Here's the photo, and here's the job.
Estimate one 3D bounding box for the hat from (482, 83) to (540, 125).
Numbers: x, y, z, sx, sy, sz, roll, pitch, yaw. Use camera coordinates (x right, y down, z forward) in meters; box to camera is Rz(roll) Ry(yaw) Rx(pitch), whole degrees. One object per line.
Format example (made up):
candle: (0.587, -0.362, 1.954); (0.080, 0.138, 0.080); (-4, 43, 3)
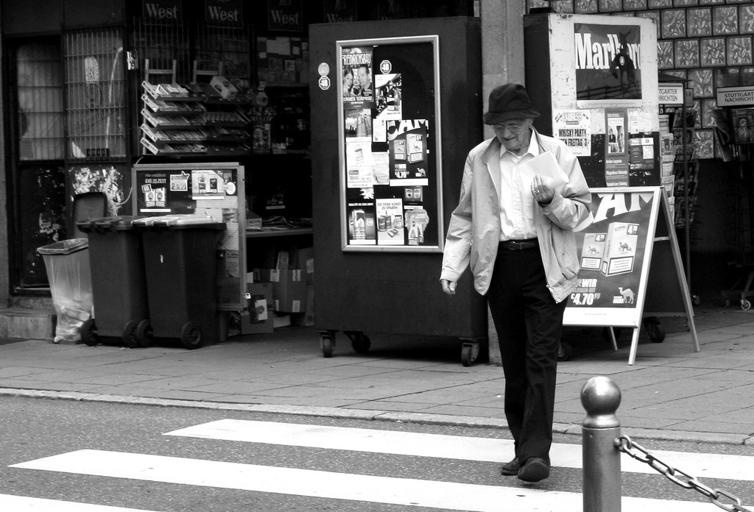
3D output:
hat: (0.912, -1.072, 5.892); (0.464, 0.246, 0.500); (5, 15, 41)

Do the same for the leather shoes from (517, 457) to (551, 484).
leather shoes: (1.047, 1.444, 5.601); (0.137, 0.092, 0.233); (19, -34, -19)

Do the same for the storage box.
storage box: (-1.423, 0.498, 12.059); (0.386, 1.134, 1.156); (3, 8, 45)

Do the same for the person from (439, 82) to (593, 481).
person: (0.939, 0.175, 5.917); (0.875, 2.734, 0.740); (2, 7, 39)

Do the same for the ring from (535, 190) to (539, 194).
ring: (1.070, -0.423, 5.617); (0.028, 0.025, 0.018); (-3, -6, 15)

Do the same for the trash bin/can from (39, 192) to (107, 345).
trash bin/can: (-4.183, 0.134, 11.622); (0.791, 1.960, 0.867); (-1, 6, 26)

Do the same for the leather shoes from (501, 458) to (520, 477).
leather shoes: (0.935, 1.493, 5.892); (0.176, 0.112, 0.082); (0, -2, 2)
